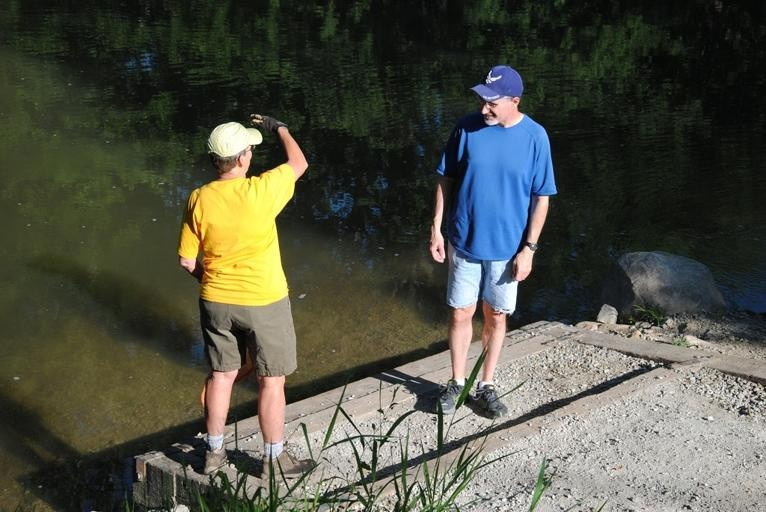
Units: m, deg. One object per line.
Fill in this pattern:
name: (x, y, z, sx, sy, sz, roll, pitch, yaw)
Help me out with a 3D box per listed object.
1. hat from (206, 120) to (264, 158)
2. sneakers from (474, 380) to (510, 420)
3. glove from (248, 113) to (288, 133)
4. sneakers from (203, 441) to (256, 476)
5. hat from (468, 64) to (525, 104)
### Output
hat: (-1.466, -1.191, 8.194, 0.475, 0.213, 0.344, -28, 51, -25)
sneakers: (1.168, 1.600, 9.196, 0.236, 0.217, 0.476, -23, 42, -24)
glove: (-1.213, -1.396, 8.668, 0.398, 0.214, 0.108, 15, -9, -11)
sneakers: (-1.681, 2.071, 8.524, 0.157, 0.210, 0.441, 1, 14, 24)
hat: (1.209, -1.824, 8.703, 0.513, 0.277, 0.331, 3, 31, -15)
